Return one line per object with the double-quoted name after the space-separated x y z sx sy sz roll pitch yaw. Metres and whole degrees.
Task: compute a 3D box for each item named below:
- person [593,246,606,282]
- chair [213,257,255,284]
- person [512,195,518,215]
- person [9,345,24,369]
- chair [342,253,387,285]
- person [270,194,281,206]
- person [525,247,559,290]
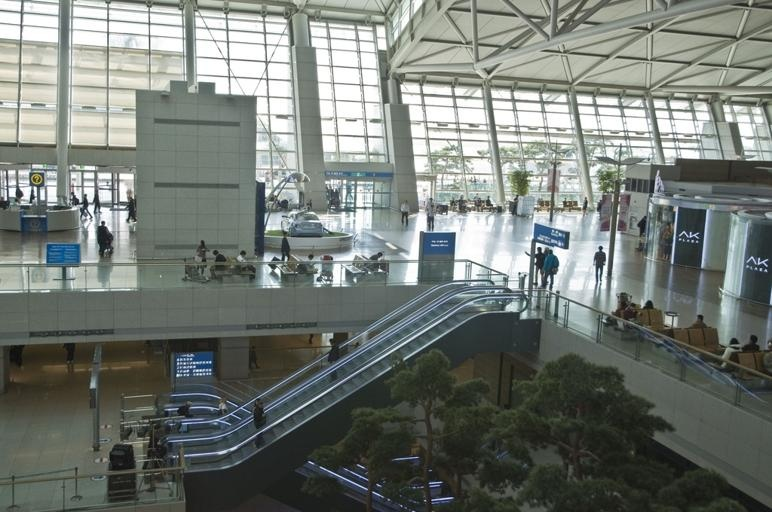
8.986 0.288 26.066 0.388 1.445 1.020 0 6 18 "person"
-5.757 0.578 23.618 1.109 0.599 0.979 -2 15 -18 "chair"
10.114 -3.951 48.449 0.443 1.375 0.981 -3 6 -7 "person"
-15.979 4.249 26.830 0.459 0.897 0.791 -6 7 -32 "person"
-0.851 0.480 24.824 1.440 0.763 1.335 -1 9 -13 "chair"
-7.786 -3.950 43.697 0.838 0.744 1.462 22 -4 -13 "person"
6.321 0.469 24.369 0.792 1.689 1.466 -1 6 8 "person"
